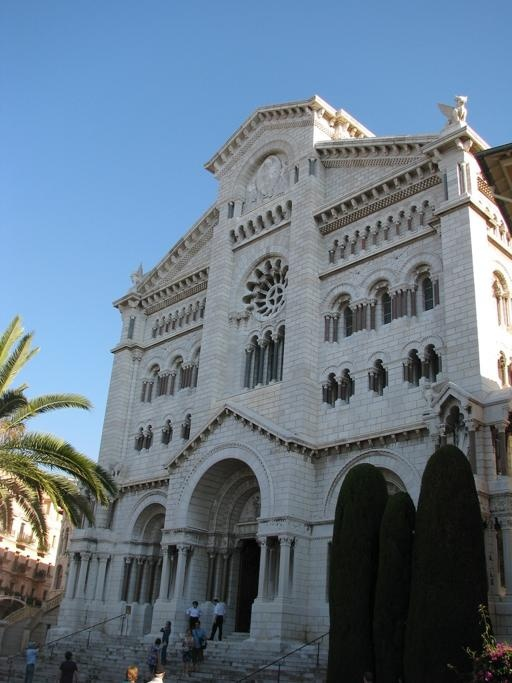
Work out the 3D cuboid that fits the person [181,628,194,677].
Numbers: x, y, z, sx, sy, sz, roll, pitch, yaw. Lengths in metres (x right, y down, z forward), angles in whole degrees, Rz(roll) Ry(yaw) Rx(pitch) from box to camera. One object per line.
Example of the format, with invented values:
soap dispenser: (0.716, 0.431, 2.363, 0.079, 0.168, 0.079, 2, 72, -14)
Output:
person: (-2.042, 9.425, 20.317, 0.373, 1.166, 1.059, 5, -23, -2)
